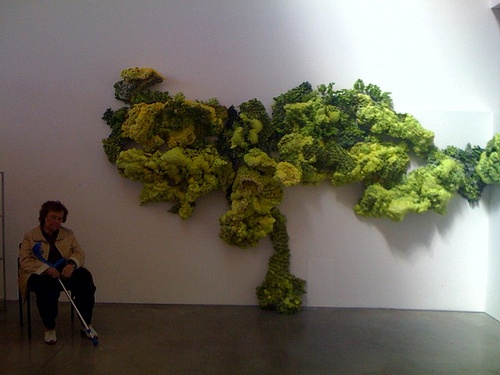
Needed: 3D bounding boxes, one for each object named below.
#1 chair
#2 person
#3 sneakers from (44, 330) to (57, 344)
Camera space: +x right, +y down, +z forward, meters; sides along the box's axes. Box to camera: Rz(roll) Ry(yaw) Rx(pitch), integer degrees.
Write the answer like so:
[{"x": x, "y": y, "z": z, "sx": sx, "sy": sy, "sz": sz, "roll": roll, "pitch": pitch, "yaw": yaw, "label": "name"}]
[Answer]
[{"x": -2.103, "y": 1.075, "z": 4.088, "sx": 0.583, "sy": 0.967, "sz": 0.620, "roll": 6, "pitch": 4, "yaw": -10, "label": "chair"}, {"x": -1.908, "y": 0.873, "z": 3.790, "sx": 0.715, "sy": 1.277, "sz": 0.505, "roll": -3, "pitch": 13, "yaw": -15, "label": "person"}, {"x": -1.952, "y": 1.450, "z": 3.760, "sx": 0.116, "sy": 0.135, "sz": 0.105, "roll": -4, "pitch": 13, "yaw": -17, "label": "sneakers"}]
